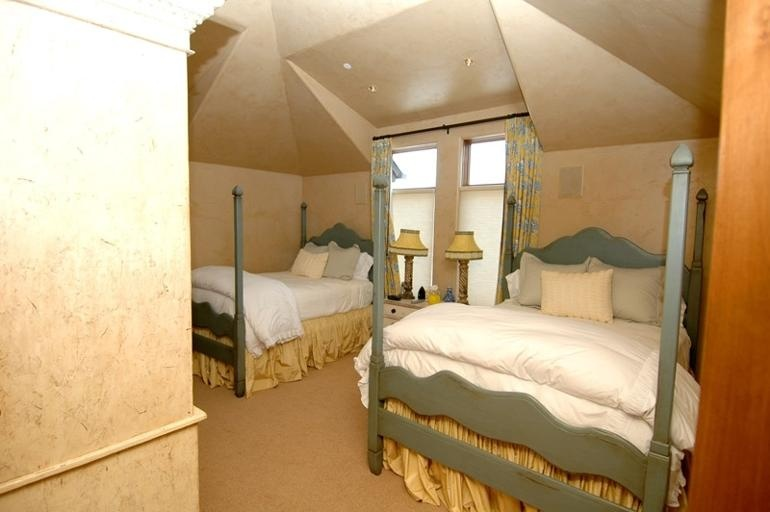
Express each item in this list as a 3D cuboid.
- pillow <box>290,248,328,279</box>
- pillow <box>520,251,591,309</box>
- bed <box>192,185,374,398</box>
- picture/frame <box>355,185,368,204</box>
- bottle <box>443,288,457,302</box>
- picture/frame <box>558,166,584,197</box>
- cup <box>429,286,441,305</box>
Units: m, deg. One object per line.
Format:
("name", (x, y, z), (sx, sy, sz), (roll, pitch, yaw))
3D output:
("pillow", (-0.729, 0.056, 5.683), (0.390, 0.286, 0.112), (-8, -34, 42))
("pillow", (1.197, 0.181, 4.012), (0.125, 0.374, 0.362), (27, -12, -30))
("bed", (-0.943, 0.182, 5.210), (1.391, 1.459, 1.956), (9, 12, 31))
("picture/frame", (-0.245, -0.639, 5.966), (0.043, 0.183, 0.185), (-2, 0, -44))
("bottle", (0.579, 0.348, 5.069), (0.115, 0.163, 0.113), (2, -4, 0))
("picture/frame", (1.451, -0.581, 4.452), (0.210, 0.308, 0.031), (8, 9, 43))
("cup", (0.428, 0.344, 4.966), (0.142, 0.155, 0.111), (-2, 2, -14))
